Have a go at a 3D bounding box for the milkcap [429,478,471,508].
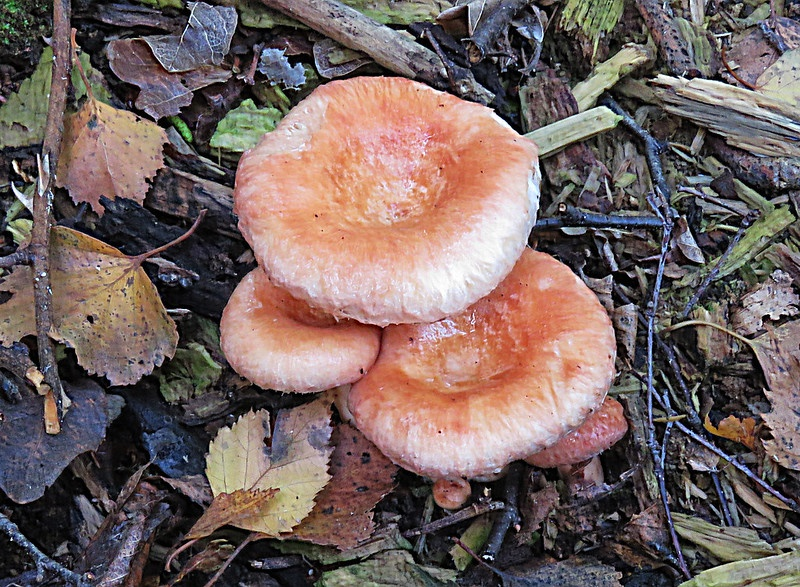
[{"bbox_3d":[0.331,1.282,5.177,0.242,0.210,0.172,7,66,4],"label":"milkcap"}]
